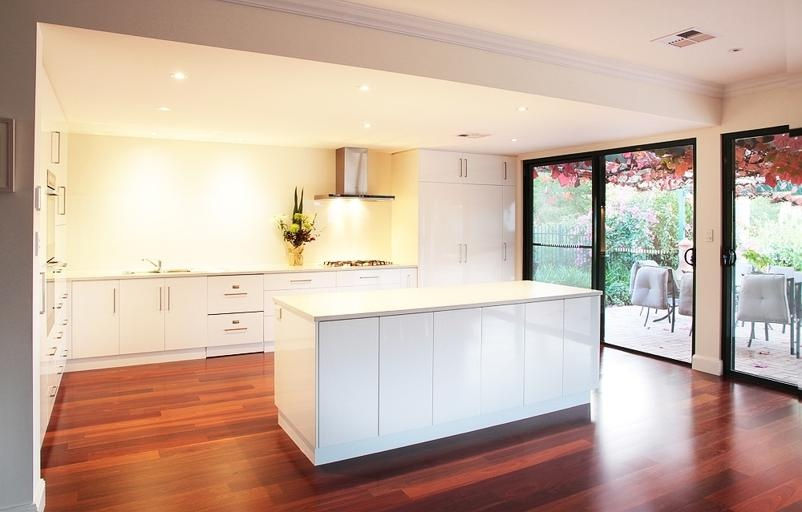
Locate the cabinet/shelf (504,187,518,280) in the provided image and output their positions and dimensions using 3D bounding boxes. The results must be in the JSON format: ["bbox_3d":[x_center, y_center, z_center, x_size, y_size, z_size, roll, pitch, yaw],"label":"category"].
[{"bbox_3d":[1.689,-0.369,7.859,0.254,1.445,0.392,2,12,9],"label":"cabinet/shelf"}]

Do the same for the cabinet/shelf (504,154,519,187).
[{"bbox_3d":[1.720,-1.336,7.825,0.301,0.476,0.096,-5,13,-22],"label":"cabinet/shelf"}]

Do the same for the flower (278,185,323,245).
[{"bbox_3d":[-1.470,-0.504,7.241,0.540,0.690,0.500,4,8,20],"label":"flower"}]

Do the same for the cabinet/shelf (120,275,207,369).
[{"bbox_3d":[-2.899,0.790,5.986,1.251,1.044,0.453,0,-2,-27],"label":"cabinet/shelf"}]

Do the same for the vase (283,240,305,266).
[{"bbox_3d":[-1.519,-0.032,7.136,0.203,0.312,0.293,-6,13,-25],"label":"vase"}]

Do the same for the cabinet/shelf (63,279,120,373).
[{"bbox_3d":[-3.528,0.731,5.734,0.531,0.906,0.162,-4,13,-18],"label":"cabinet/shelf"}]
